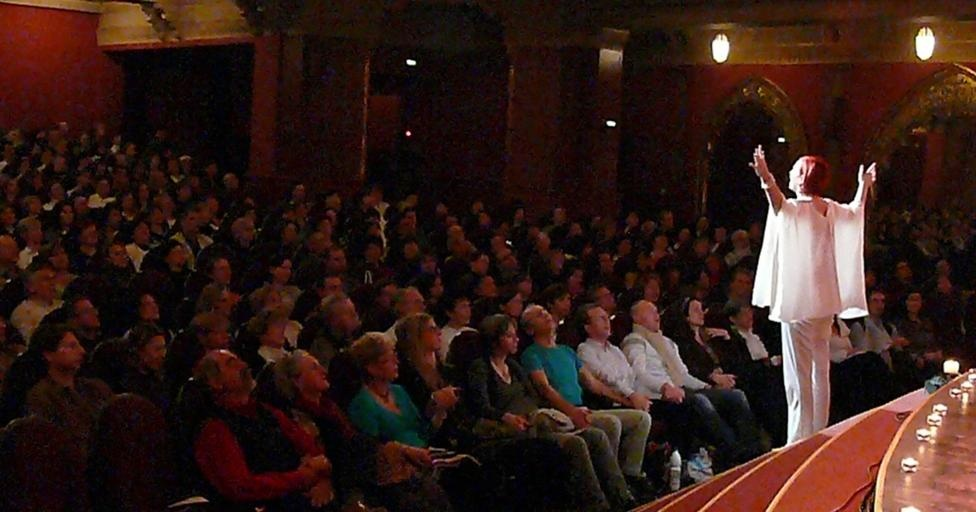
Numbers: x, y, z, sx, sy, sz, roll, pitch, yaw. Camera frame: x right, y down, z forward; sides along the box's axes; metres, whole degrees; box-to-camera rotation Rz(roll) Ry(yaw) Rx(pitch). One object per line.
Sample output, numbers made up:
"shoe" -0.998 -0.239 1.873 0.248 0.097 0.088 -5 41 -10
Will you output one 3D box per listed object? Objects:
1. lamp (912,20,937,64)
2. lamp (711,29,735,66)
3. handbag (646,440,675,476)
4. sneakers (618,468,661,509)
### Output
"lamp" 6.664 -3.266 11.241 0.327 0.520 0.345 2 3 40
"lamp" 3.874 -3.517 12.311 0.330 0.503 0.407 1 2 24
"handbag" 1.677 1.988 7.189 0.334 0.145 0.428 1 35 -2
"sneakers" 1.436 2.123 6.759 0.205 0.066 0.253 2 34 -14
